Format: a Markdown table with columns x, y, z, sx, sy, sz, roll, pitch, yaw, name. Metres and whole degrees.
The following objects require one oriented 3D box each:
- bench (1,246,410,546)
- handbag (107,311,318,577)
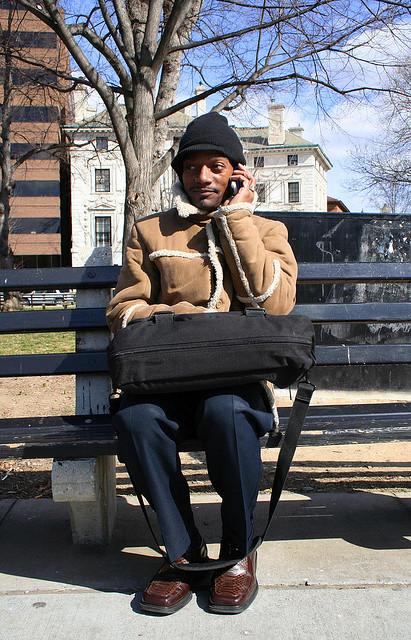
| x | y | z | sx | sy | sz | roll | pitch | yaw | name |
| --- | --- | --- | --- | --- | --- | --- | --- | --- | --- |
| -0.024 | 0.310 | 3.352 | 1.686 | 1.231 | 0.950 | -2 | 8 | -7 | bench |
| 0.014 | 0.433 | 2.858 | 0.787 | 0.923 | 0.510 | -3 | 8 | 4 | handbag |
